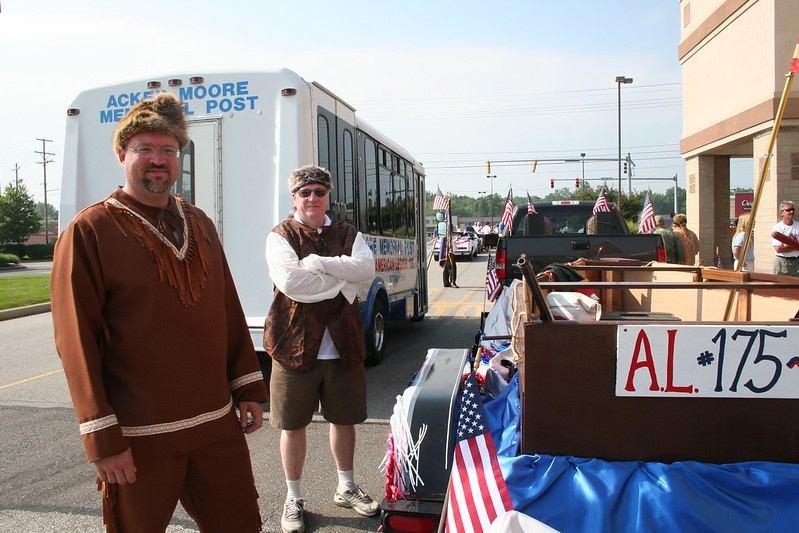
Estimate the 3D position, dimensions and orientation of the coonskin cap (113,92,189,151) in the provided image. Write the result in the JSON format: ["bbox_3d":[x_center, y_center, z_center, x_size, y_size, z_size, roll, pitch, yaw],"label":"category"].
[{"bbox_3d":[-1.387,-0.831,3.798,0.286,0.225,0.378,-11,2,-27],"label":"coonskin cap"}]

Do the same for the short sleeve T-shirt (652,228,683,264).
[{"bbox_3d":[4.040,-0.292,10.105,0.545,0.658,0.326,6,11,28],"label":"short sleeve T-shirt"}]

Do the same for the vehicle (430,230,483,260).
[{"bbox_3d":[3.223,-1.058,33.200,1.445,1.056,3.294,0,0,10],"label":"vehicle"}]

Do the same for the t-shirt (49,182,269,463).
[{"bbox_3d":[-1.338,0.268,3.746,1.041,1.374,0.474,-5,7,-31],"label":"t-shirt"}]

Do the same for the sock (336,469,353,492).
[{"bbox_3d":[-0.392,1.603,5.069,0.089,0.189,0.181,0,-4,-3],"label":"sock"}]

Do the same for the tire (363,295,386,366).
[{"bbox_3d":[-0.314,0.822,8.537,0.212,0.707,0.666,-4,21,13],"label":"tire"}]

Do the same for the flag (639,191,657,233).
[{"bbox_3d":[5.004,-1.081,13.658,0.393,1.012,0.128,-1,39,19],"label":"flag"}]

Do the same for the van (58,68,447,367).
[{"bbox_3d":[-1.531,-0.681,9.191,2.532,2.540,4.532,-1,2,16],"label":"van"}]

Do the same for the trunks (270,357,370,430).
[{"bbox_3d":[-0.598,0.805,4.972,0.715,0.732,0.431,1,20,-13],"label":"trunks"}]

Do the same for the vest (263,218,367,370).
[{"bbox_3d":[-0.590,0.182,5.105,0.688,1.162,0.558,-2,10,-18],"label":"vest"}]

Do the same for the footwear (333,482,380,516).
[{"bbox_3d":[-0.307,1.727,5.093,0.370,0.187,0.167,15,12,18],"label":"footwear"}]
